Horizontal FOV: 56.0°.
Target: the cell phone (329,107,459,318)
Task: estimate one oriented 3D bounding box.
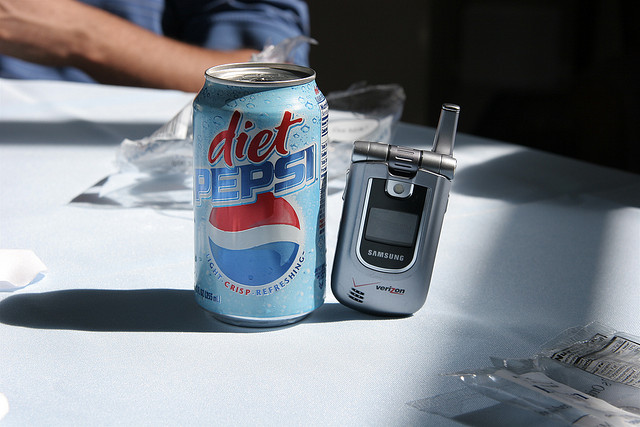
[{"bbox_3d":[0.088,0.019,0.736,0.133,0.203,0.092,5,25,12],"label":"cell phone"}]
